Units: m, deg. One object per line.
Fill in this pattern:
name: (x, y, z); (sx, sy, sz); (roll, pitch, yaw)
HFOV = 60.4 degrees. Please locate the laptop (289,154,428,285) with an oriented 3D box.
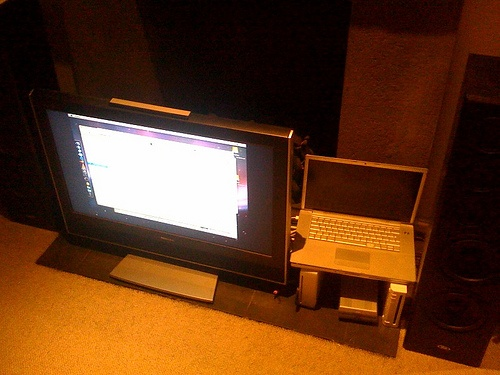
laptop: (0.329, 0.096, 1.372); (0.532, 0.375, 0.305); (7, -38, 10)

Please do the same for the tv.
tv: (-0.262, 0.037, 1.359); (0.769, 0.191, 0.527); (10, -50, 12)
